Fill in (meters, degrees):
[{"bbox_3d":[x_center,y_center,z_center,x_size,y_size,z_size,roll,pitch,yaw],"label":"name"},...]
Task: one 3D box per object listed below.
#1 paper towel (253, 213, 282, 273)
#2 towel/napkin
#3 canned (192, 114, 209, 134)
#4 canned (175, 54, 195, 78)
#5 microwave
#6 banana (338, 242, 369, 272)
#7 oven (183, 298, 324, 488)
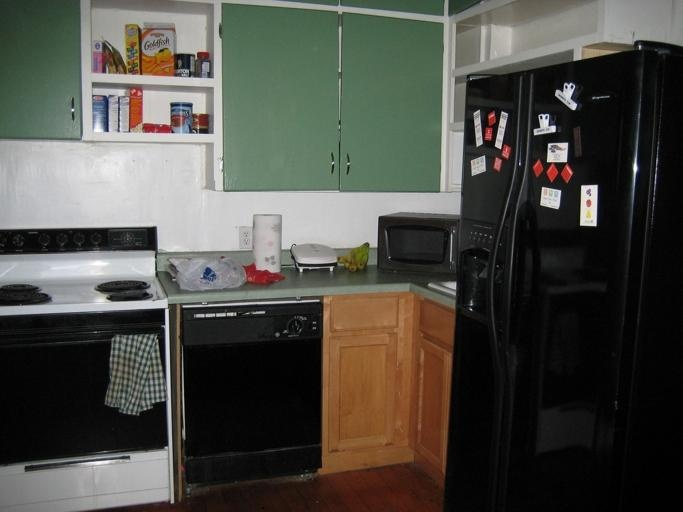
[{"bbox_3d":[-0.393,-0.061,2.860,0.148,0.294,0.125,0,9,5],"label":"paper towel"},{"bbox_3d":[-0.895,0.503,2.370,0.330,0.442,0.058,-2,5,-27],"label":"towel/napkin"},{"bbox_3d":[-0.722,-0.673,2.835,0.094,0.136,0.095,-3,13,-23],"label":"canned"},{"bbox_3d":[-0.779,-0.938,2.741,0.107,0.126,0.108,-8,20,-33],"label":"canned"},{"bbox_3d":[0.428,-0.145,2.930,0.419,0.329,0.301,4,6,28],"label":"microwave"},{"bbox_3d":[0.070,-0.004,3.113,0.175,0.145,0.265,-1,10,2],"label":"banana"},{"bbox_3d":[-0.405,0.621,2.974,0.753,1.082,0.807,-1,2,-16],"label":"oven"}]
